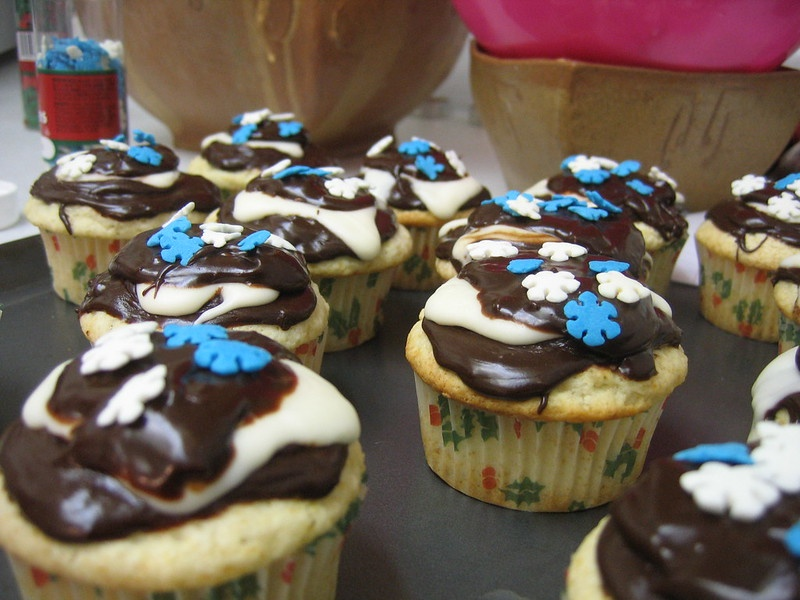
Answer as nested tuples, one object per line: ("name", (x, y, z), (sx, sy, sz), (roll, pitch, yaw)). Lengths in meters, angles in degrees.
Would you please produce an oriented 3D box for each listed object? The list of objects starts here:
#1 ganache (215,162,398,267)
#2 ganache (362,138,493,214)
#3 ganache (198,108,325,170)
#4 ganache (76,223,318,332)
("ganache", (-0.285, -0.299, 2.690), (0.459, 0.175, 0.403), (6, 30, -14))
("ganache", (0.111, -0.561, 3.165), (0.407, 0.157, 0.364), (22, 36, -1))
("ganache", (-0.615, -0.676, 3.305), (0.358, 0.126, 0.317), (-4, 35, -1))
("ganache", (-0.561, -0.065, 2.151), (0.412, 0.148, 0.385), (5, 21, 10))
